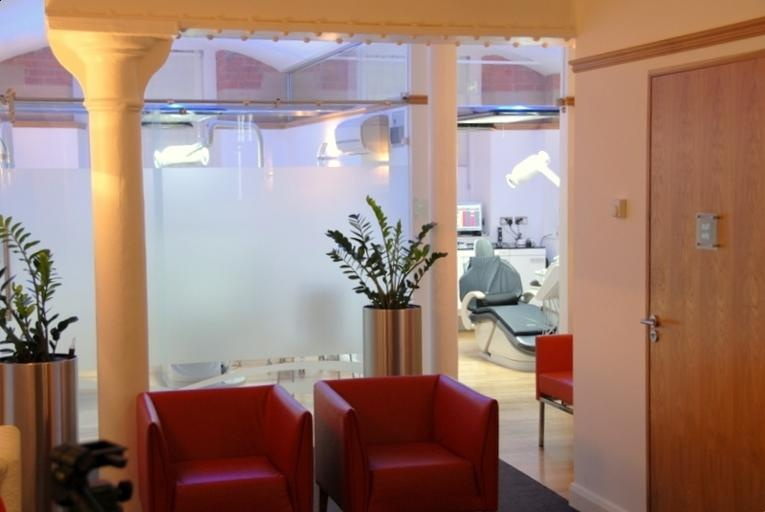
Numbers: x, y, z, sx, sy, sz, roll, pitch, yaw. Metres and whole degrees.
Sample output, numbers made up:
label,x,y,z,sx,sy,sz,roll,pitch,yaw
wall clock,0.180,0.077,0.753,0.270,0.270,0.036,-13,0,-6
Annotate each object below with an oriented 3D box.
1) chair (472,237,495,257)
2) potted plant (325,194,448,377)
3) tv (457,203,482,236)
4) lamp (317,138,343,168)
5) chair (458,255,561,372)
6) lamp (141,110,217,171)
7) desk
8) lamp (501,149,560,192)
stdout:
label,x,y,z,sx,sy,sz,roll,pitch,yaw
chair,1.464,-0.116,9.233,0.264,0.350,0.294,-2,4,-16
potted plant,0.020,0.255,5.900,1.042,1.601,0.885,-3,6,-9
tv,1.441,-0.610,10.707,0.649,0.612,0.351,-1,3,-13
lamp,-0.504,-0.951,6.031,0.229,0.256,0.180,-1,9,-7
chair,1.774,0.838,8.629,1.012,1.545,1.568,0,0,-20
lamp,-1.844,-1.055,5.716,0.707,0.506,0.477,-1,2,-15
desk,1.618,0.508,8.887,1.200,1.115,0.420,6,-12,-35
lamp,2.078,-1.217,8.870,0.652,0.444,0.585,0,6,15
